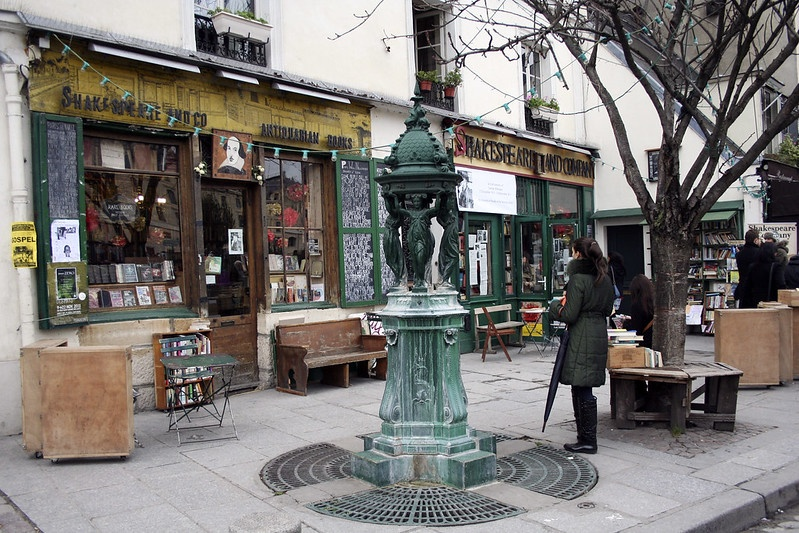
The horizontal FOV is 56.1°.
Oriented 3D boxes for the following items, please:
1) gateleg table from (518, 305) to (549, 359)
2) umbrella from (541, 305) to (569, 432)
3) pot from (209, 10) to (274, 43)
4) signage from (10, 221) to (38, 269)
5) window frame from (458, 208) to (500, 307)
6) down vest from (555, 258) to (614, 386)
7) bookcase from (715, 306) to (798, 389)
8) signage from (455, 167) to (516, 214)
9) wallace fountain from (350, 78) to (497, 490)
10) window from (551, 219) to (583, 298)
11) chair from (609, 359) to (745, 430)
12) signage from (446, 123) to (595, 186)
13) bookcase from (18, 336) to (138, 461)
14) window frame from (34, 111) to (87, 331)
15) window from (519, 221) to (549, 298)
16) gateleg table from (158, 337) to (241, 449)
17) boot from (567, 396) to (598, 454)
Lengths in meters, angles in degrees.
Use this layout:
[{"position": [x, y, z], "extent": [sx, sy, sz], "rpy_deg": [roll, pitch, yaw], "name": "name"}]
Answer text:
[{"position": [2.860, 1.443, 16.386], "extent": [0.785, 0.860, 0.788], "rpy_deg": [8, -8, -41], "name": "gateleg table"}, {"position": [2.443, 1.644, 11.796], "extent": [0.178, 1.793, 0.179], "rpy_deg": [15, 8, 8], "name": "umbrella"}, {"position": [-2.622, -4.020, 12.556], "extent": [0.986, 0.456, 0.332], "rpy_deg": [-9, 14, -40], "name": "pot"}, {"position": [-5.243, -0.289, 10.496], "extent": [0.333, 0.670, 0.212], "rpy_deg": [-6, 12, -26], "name": "signage"}, {"position": [1.697, -0.212, 16.345], "extent": [0.269, 2.515, 2.157], "rpy_deg": [-2, -2, 37], "name": "window frame"}, {"position": [2.346, 0.765, 9.667], "extent": [0.798, 1.687, 0.640], "rpy_deg": [1, 11, 11], "name": "down vest"}, {"position": [5.836, 1.358, 12.224], "extent": [1.676, 1.412, 0.549], "rpy_deg": [-5, 11, -24], "name": "bookcase"}, {"position": [1.944, -1.697, 16.611], "extent": [2.026, 0.979, 0.031], "rpy_deg": [0, -1, -43], "name": "signage"}, {"position": [0.339, 0.242, 8.866], "extent": [1.528, 4.518, 1.425], "rpy_deg": [4, 11, 22], "name": "wallace fountain"}, {"position": [3.757, -0.229, 17.117], "extent": [0.720, 1.846, 0.188], "rpy_deg": [-2, -9, 22], "name": "window"}, {"position": [3.755, 1.806, 10.269], "extent": [1.682, 0.914, 0.712], "rpy_deg": [-1, 10, 0], "name": "chair"}, {"position": [3.240, -2.728, 17.992], "extent": [0.611, 1.205, 6.088], "rpy_deg": [-16, -11, 41], "name": "signage"}, {"position": [-4.274, 1.925, 10.043], "extent": [1.123, 1.350, 1.467], "rpy_deg": [1, -14, -26], "name": "bookcase"}, {"position": [-4.869, -0.664, 10.766], "extent": [0.757, 3.015, 0.613], "rpy_deg": [-5, 11, -22], "name": "window frame"}, {"position": [3.063, -0.193, 17.356], "extent": [0.626, 1.917, 0.157], "rpy_deg": [-1, 16, 13], "name": "window"}, {"position": [-3.014, 1.685, 11.054], "extent": [0.855, 1.303, 1.078], "rpy_deg": [-4, 9, -25], "name": "gateleg table"}, {"position": [2.350, 1.964, 9.565], "extent": [0.360, 0.810, 0.256], "rpy_deg": [2, 11, 14], "name": "boot"}]
